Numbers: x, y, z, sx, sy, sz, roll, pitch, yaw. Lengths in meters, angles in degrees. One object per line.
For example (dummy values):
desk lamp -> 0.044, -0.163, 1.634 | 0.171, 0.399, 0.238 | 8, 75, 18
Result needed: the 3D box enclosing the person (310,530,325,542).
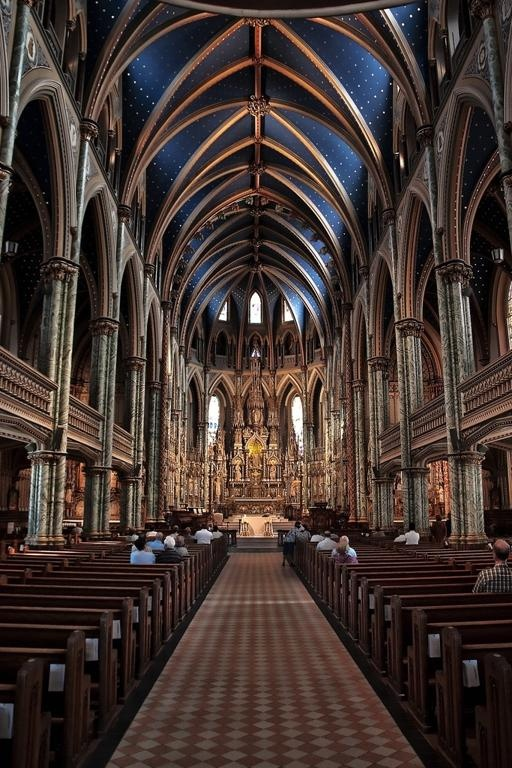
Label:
person -> 1.735, 4.428, 16.814 | 0.464, 0.300, 0.707 | 0, -4, 0
